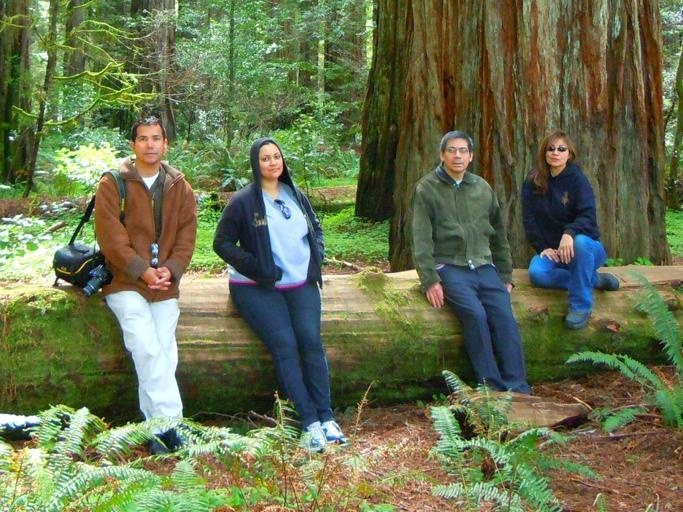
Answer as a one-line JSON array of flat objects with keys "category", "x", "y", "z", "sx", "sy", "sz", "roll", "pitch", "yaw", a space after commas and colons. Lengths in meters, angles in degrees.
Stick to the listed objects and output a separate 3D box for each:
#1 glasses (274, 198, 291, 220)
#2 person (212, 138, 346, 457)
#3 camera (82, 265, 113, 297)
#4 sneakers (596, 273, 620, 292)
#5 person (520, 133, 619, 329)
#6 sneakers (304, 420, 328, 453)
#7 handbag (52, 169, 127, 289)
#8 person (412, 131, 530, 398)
[{"category": "glasses", "x": -0.526, "y": -0.419, "z": 5.876, "sx": 0.049, "sy": 0.201, "sz": 0.121, "roll": -38, "pitch": -8, "yaw": 26}, {"category": "person", "x": -0.468, "y": 0.189, "z": 5.720, "sx": 1.096, "sy": 2.427, "sz": 0.782, "roll": 3, "pitch": 9, "yaw": 38}, {"category": "camera", "x": -2.045, "y": 0.199, "z": 5.460, "sx": 0.119, "sy": 0.080, "sz": 0.270, "roll": 28, "pitch": 55, "yaw": 38}, {"category": "sneakers", "x": 2.653, "y": 0.255, "z": 6.478, "sx": 0.132, "sy": 0.123, "sz": 0.309, "roll": 0, "pitch": 9, "yaw": -33}, {"category": "person", "x": 2.204, "y": -0.299, "z": 6.556, "sx": 0.670, "sy": 1.879, "sz": 0.867, "roll": -7, "pitch": 9, "yaw": -32}, {"category": "sneakers", "x": -0.204, "y": 1.401, "z": 5.003, "sx": 0.158, "sy": 0.194, "sz": 0.439, "roll": 2, "pitch": -6, "yaw": -15}, {"category": "handbag", "x": -2.166, "y": -0.238, "z": 5.622, "sx": 0.554, "sy": 0.998, "sz": 0.534, "roll": -2, "pitch": 10, "yaw": -35}, {"category": "person", "x": 1.263, "y": -0.027, "z": 6.144, "sx": 0.852, "sy": 2.268, "sz": 1.053, "roll": -10, "pitch": 10, "yaw": -44}]
